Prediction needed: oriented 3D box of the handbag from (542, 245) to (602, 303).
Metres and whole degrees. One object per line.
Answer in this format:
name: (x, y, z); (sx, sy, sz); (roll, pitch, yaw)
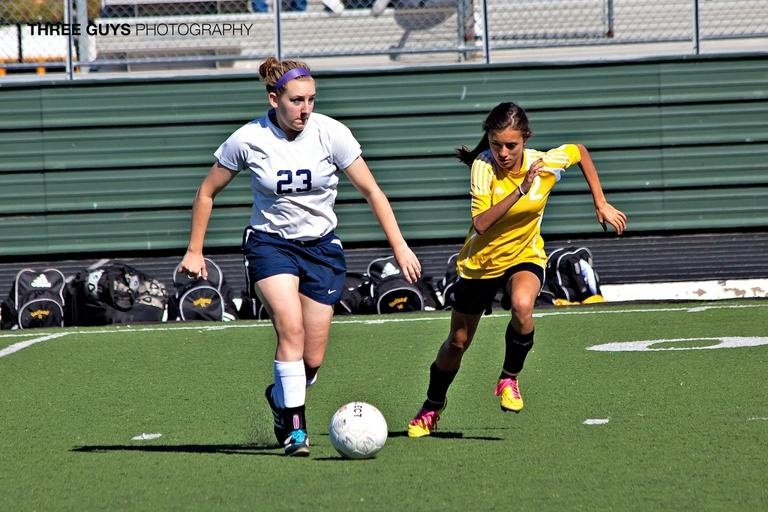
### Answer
handbag: (2.768, 0.236, 20.326); (0.919, 0.817, 0.958); (-13, -8, 43)

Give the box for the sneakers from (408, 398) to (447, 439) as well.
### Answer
sneakers: (0.466, 1.782, 15.217); (0.601, 0.244, 0.221); (-37, 29, -32)

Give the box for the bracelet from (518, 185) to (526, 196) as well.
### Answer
bracelet: (1.473, -0.713, 14.958); (0.056, 0.104, 0.077); (-42, 6, 7)

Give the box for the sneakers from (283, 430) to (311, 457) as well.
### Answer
sneakers: (-0.922, 1.957, 14.792); (0.276, 0.284, 0.149); (0, 7, 0)

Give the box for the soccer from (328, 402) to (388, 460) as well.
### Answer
soccer: (-0.242, 1.858, 14.958); (0.674, 0.591, 0.638); (-4, 18, -12)
